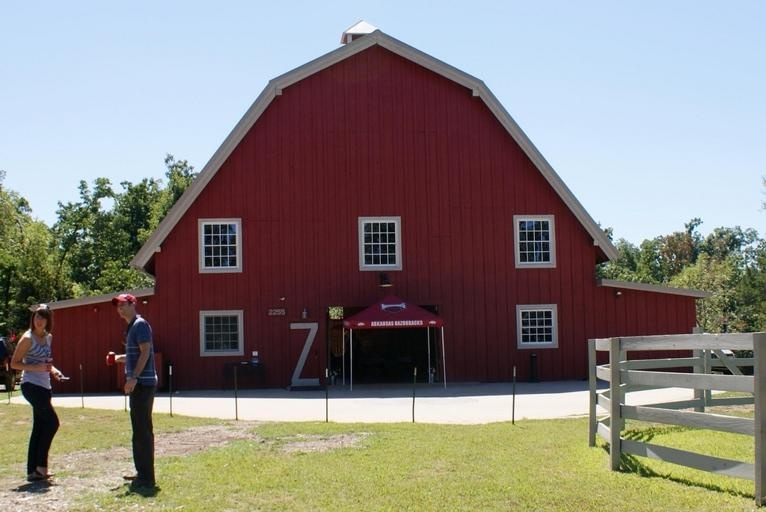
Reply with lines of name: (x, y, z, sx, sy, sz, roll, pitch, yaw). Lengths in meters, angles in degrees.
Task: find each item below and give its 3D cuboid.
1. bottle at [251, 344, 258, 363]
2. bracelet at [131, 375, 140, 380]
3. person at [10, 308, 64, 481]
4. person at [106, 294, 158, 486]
bottle: (-4.627, 3.509, 28.037, 0.298, 0.600, 0.250, 1, 1, -10)
bracelet: (-4.624, 2.268, 14.514, 0.042, 0.063, 0.137, 1, 0, 39)
person: (-6.696, 2.619, 15.043, 0.822, 3.337, 0.664, 1, 1, -20)
person: (-4.622, 2.558, 14.644, 0.747, 3.613, 0.550, 1, 1, 1)
